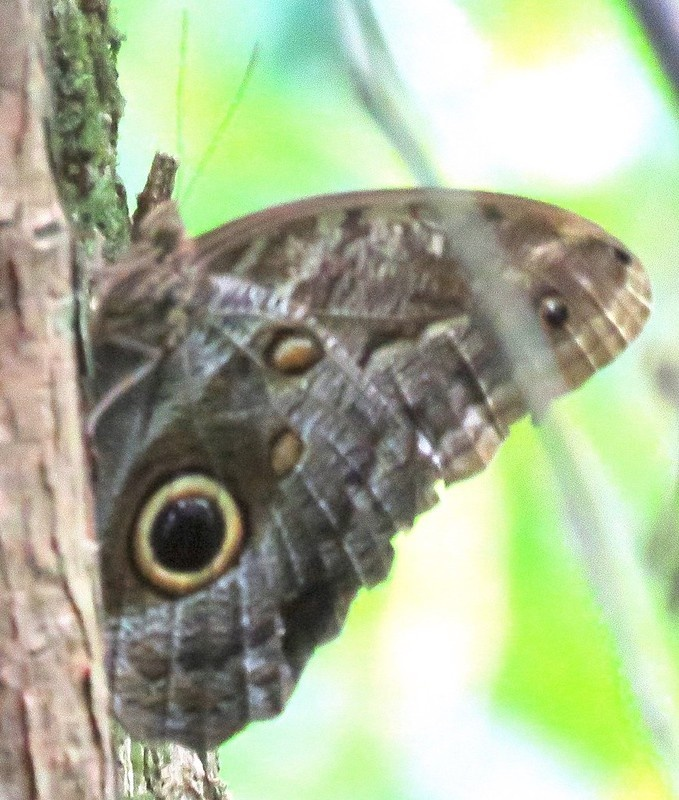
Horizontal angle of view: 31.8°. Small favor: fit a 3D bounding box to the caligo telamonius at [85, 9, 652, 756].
[{"bbox_3d":[-0.021,0.045,0.888,0.312,0.322,0.302,3,-42,-6],"label":"caligo telamonius"}]
